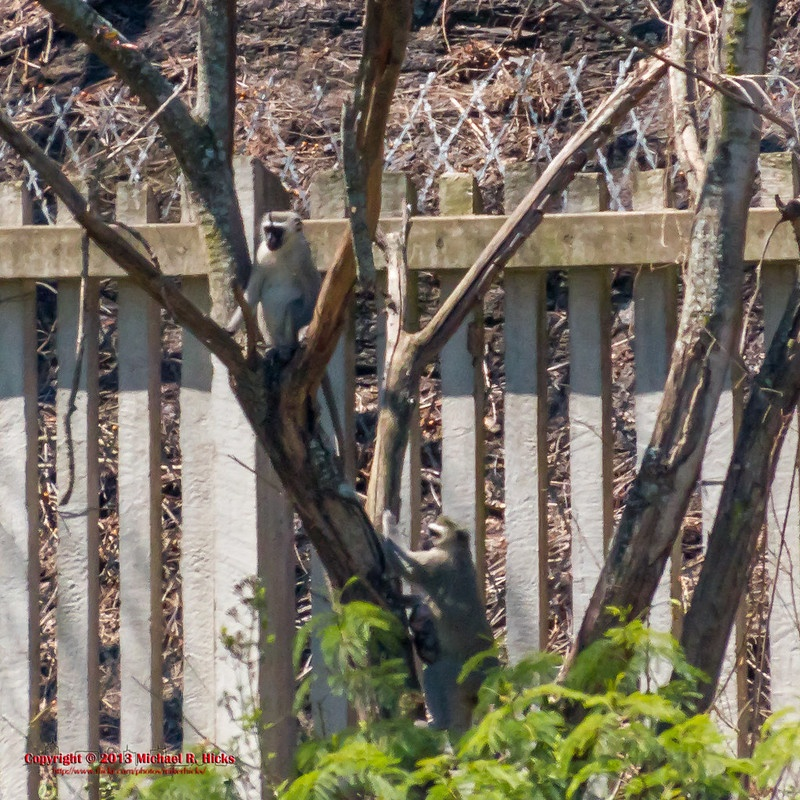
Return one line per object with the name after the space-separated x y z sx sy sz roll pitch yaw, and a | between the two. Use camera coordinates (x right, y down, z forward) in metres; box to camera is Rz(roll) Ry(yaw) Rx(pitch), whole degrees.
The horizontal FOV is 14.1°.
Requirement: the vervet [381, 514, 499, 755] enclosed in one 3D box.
0.126 0.671 9.316 0.341 0.650 0.239 1 1 -1 | vervet

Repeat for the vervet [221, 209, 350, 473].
-0.334 -0.093 9.980 0.237 0.957 0.394 1 33 9 | vervet
